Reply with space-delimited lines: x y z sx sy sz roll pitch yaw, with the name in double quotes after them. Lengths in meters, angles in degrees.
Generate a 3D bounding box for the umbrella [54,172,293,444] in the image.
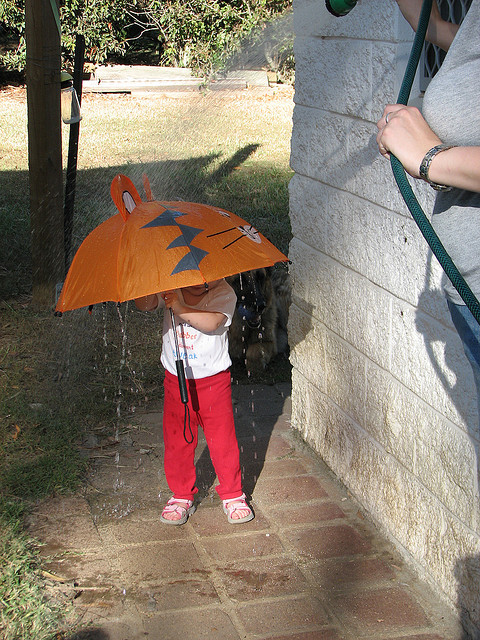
-0.315 -0.150 2.555 1.116 1.007 1.022 8 25 25 "umbrella"

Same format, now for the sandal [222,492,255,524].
-0.003 0.906 2.682 0.149 0.109 0.097 0 14 -1 "sandal"
